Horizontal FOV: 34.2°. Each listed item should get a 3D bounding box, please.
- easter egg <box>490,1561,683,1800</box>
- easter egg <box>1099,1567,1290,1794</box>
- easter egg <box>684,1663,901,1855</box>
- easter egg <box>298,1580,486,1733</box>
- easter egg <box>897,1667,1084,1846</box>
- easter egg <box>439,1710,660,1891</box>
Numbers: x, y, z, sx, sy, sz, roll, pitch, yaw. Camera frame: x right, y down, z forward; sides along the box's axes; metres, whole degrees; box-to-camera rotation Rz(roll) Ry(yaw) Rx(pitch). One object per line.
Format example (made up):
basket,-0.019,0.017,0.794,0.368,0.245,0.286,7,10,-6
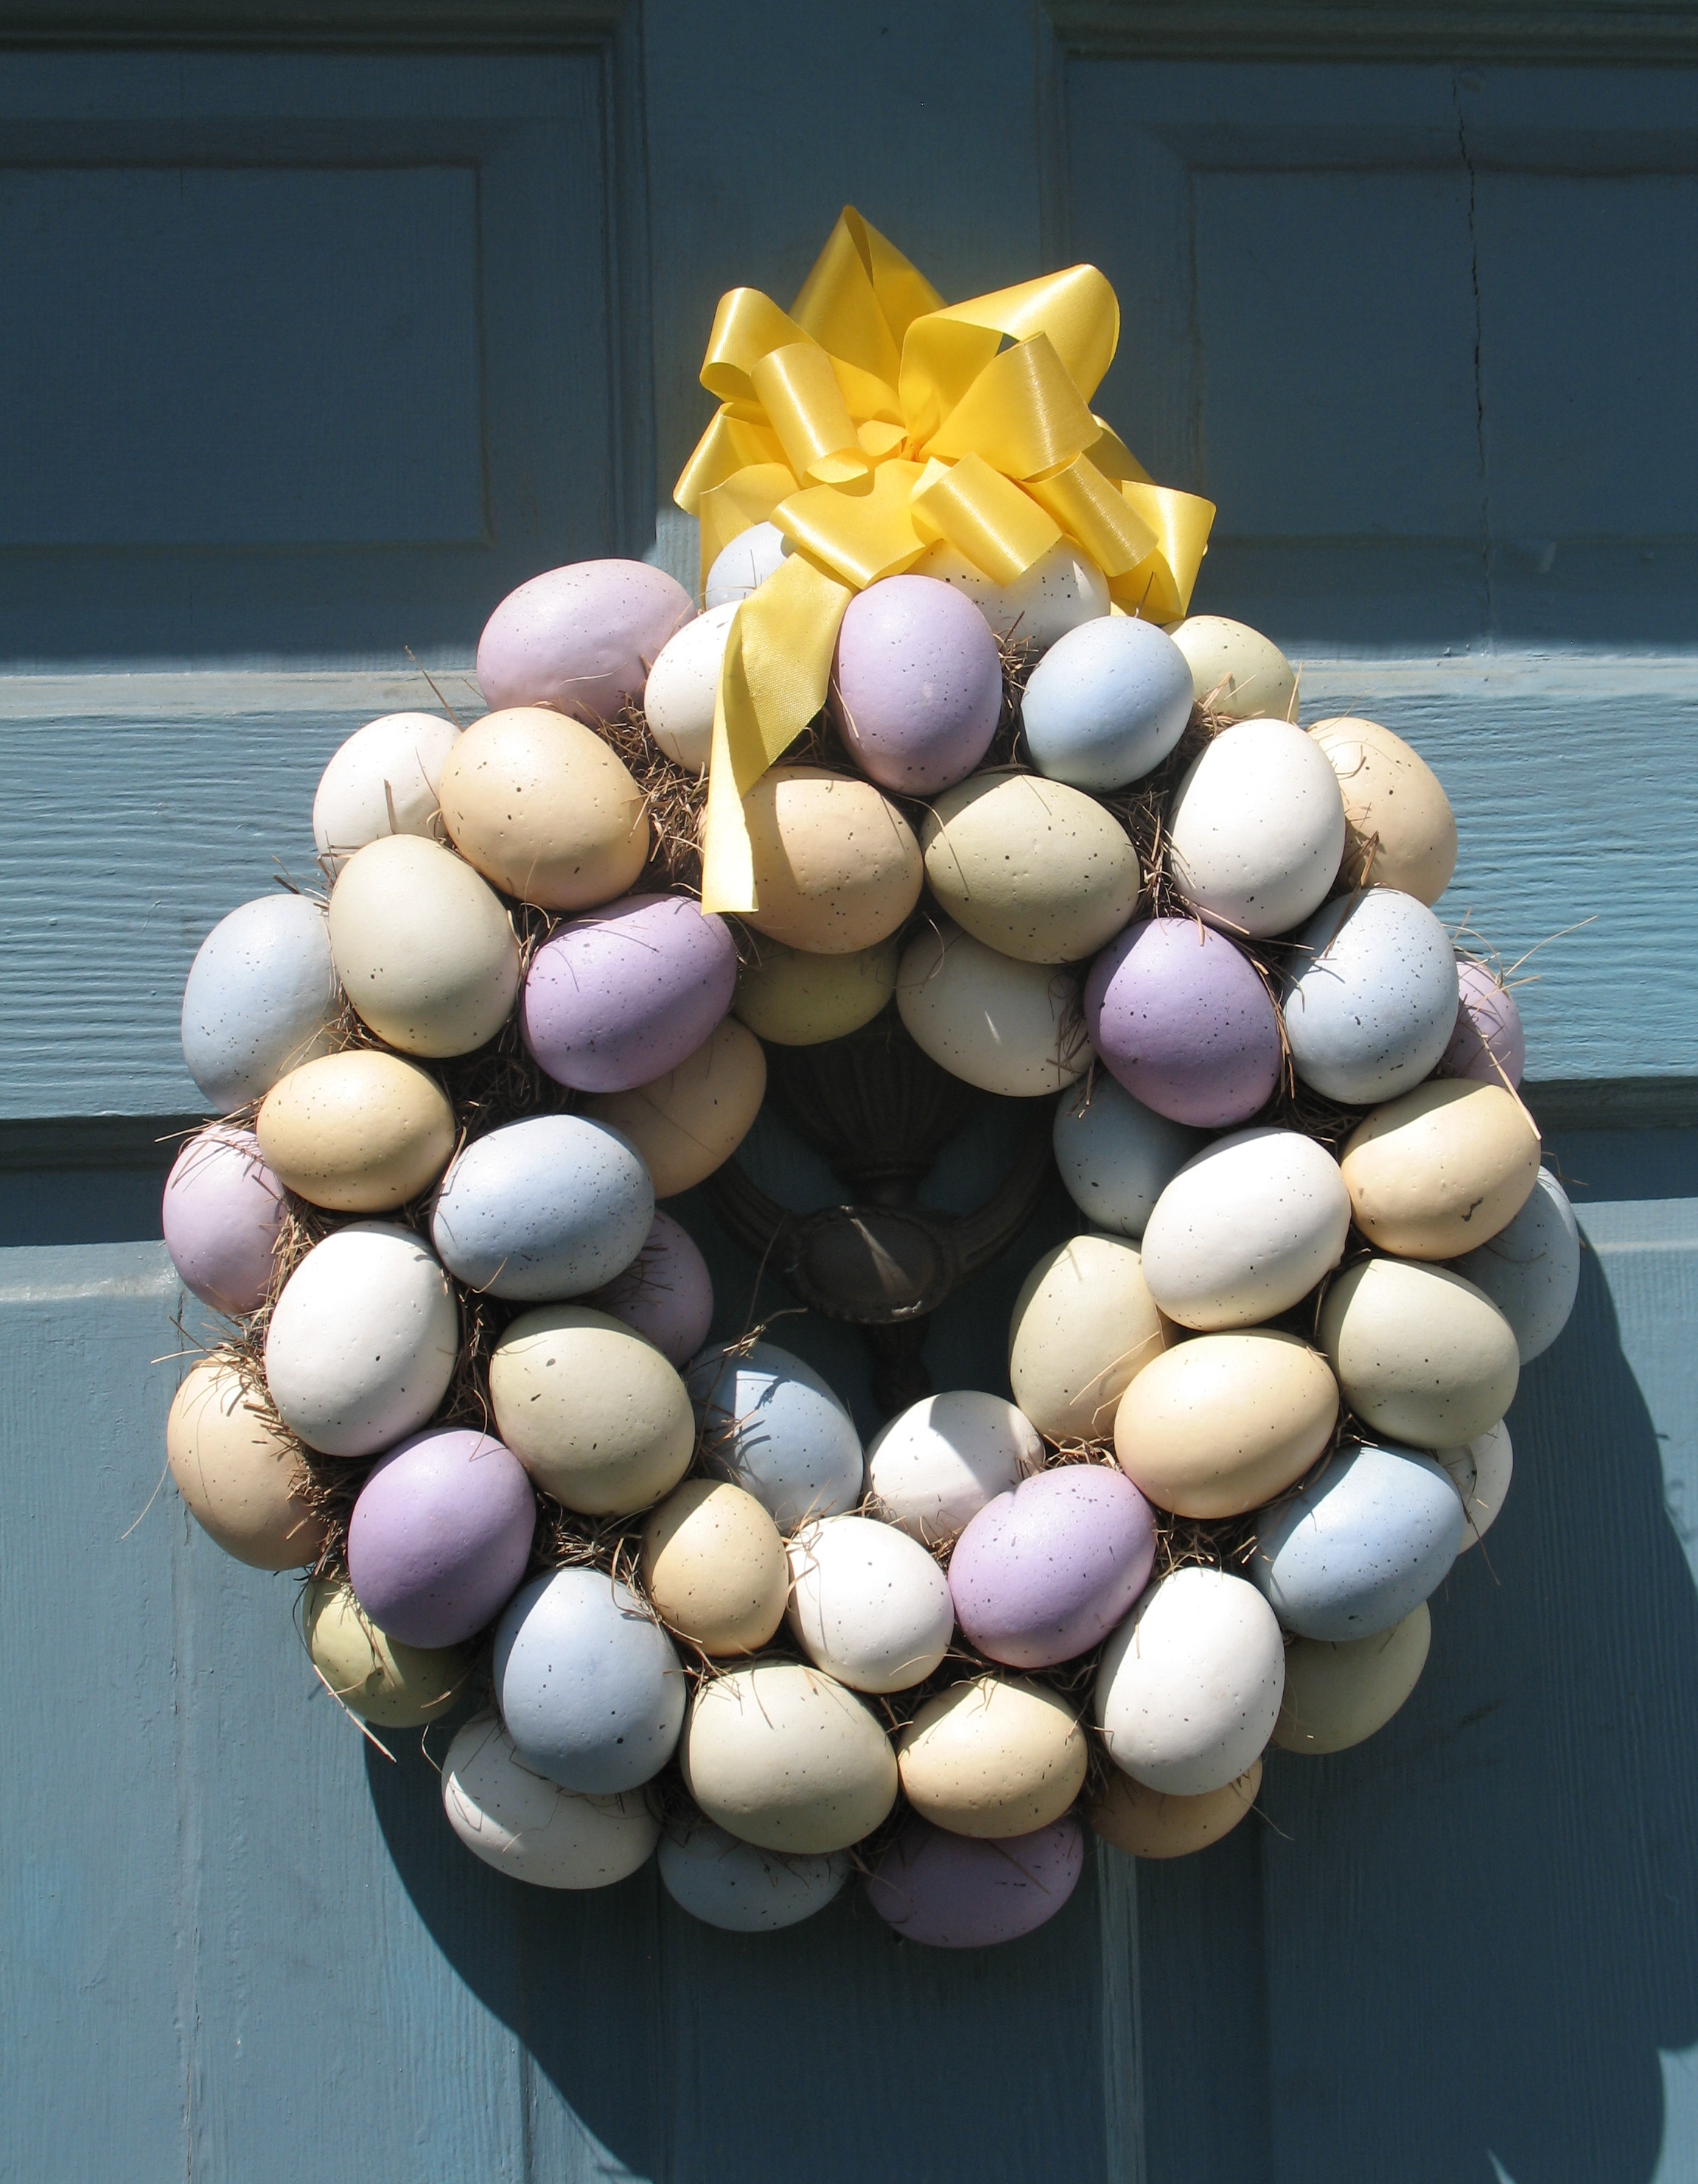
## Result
easter egg,-0.110,0.251,1.190,0.084,0.091,0.077,-17,-3,7
easter egg,0.154,0.262,1.265,0.082,0.097,0.079,28,-6,19
easter egg,-0.025,0.289,1.203,0.102,0.066,0.071,20,-11,11
easter egg,-0.212,0.259,1.246,0.079,0.075,0.069,-5,4,6
easter egg,0.066,0.295,1.220,0.079,0.070,0.042,-15,-19,-3
easter egg,-0.135,0.326,1.285,0.094,0.077,0.047,-5,4,1
